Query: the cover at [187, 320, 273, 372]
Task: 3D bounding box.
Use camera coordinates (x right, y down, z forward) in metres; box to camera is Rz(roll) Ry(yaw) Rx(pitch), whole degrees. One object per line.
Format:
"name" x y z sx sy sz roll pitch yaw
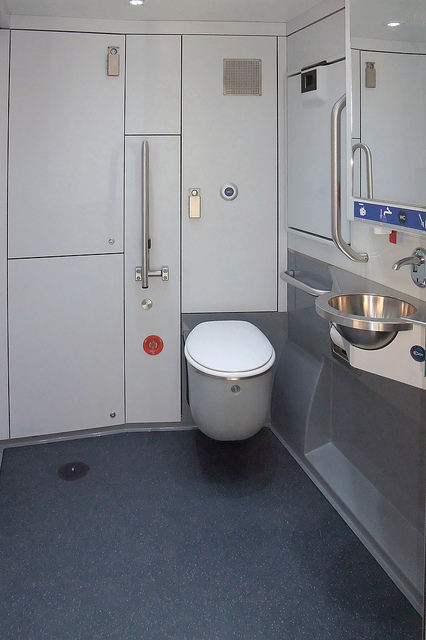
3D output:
"cover" 0.068 0.102 2.146 0.366 0.103 0.543 -1 10 -3

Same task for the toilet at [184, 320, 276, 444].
"toilet" 0.075 0.238 2.145 0.354 0.356 0.517 -1 18 -4

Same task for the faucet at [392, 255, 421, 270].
"faucet" 0.467 -0.140 1.176 0.060 0.033 0.096 4 10 23
